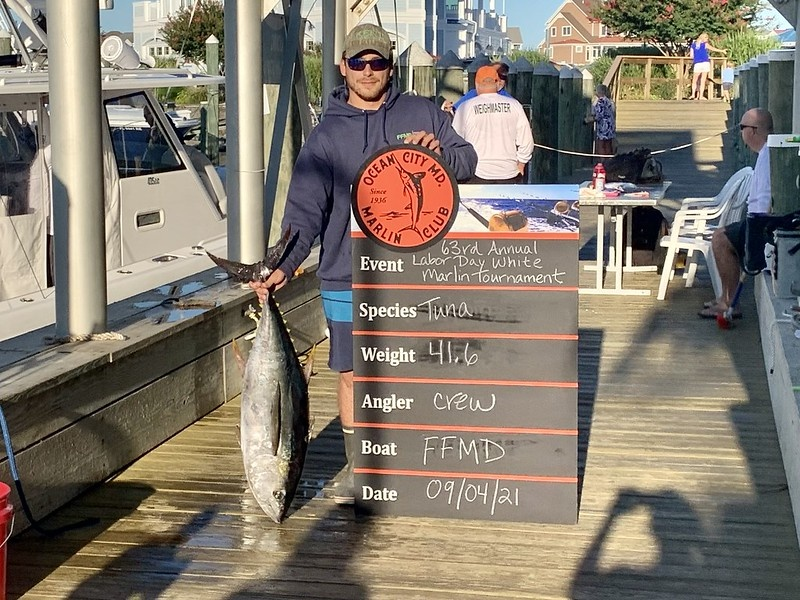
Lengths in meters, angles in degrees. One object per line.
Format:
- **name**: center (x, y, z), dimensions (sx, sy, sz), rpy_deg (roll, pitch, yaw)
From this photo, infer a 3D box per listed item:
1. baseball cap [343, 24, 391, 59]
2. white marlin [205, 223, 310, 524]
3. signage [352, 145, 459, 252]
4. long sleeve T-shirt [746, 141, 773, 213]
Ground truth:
- **baseball cap**: center (-0.165, -1.326, 4.631), dimensions (0.238, 0.175, 0.233), rpy_deg (-1, 13, -2)
- **white marlin**: center (-0.630, 0.573, 4.593), dimensions (0.351, 1.261, 0.209), rpy_deg (-2, 11, -10)
- **signage**: center (0.027, -0.536, 4.671), dimensions (0.362, 0.438, 0.043), rpy_deg (13, 14, -6)
- **long sleeve T-shirt**: center (3.093, -1.059, 7.811), dimensions (0.184, 0.607, 0.608), rpy_deg (4, 13, 21)
